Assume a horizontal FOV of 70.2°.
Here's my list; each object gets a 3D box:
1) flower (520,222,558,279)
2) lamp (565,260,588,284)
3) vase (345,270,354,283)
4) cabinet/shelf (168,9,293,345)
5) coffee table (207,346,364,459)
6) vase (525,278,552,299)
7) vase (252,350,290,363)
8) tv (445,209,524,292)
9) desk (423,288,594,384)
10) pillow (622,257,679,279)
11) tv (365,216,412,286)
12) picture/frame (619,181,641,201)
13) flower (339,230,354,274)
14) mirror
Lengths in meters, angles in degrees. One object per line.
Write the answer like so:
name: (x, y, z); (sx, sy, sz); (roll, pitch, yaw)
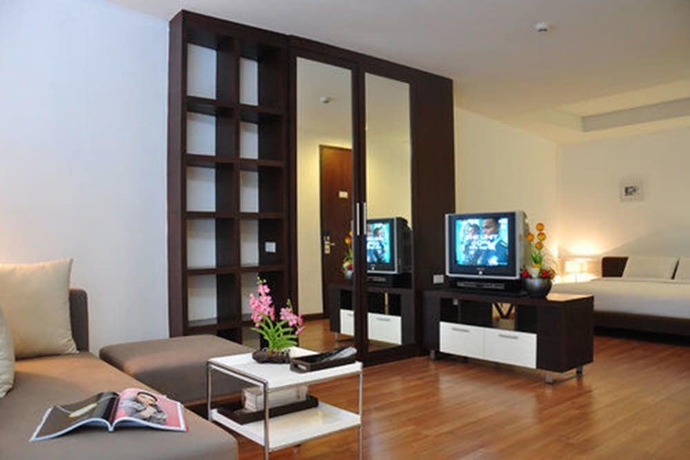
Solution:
flower: (1.954, 0.318, 4.934); (0.248, 0.501, 0.246); (-11, 2, 11)
lamp: (4.005, 0.707, 8.653); (0.357, 0.492, 0.355); (-8, 10, -43)
vase: (0.046, 0.483, 5.049); (0.109, 0.083, 0.101); (2, 1, -30)
cabinet/shelf: (-1.085, -0.637, 4.696); (1.101, 2.970, 0.321); (4, -19, -26)
coffee table: (-0.420, 1.043, 3.386); (0.795, 0.719, 0.865); (-1, 0, -39)
vase: (1.883, 0.582, 4.811); (0.206, 0.144, 0.204); (1, -8, -9)
vase: (-0.501, 0.849, 3.283); (0.149, 0.054, 0.112); (2, -5, 8)
tv: (1.517, 0.248, 5.276); (0.799, 0.808, 0.443); (1, -1, 34)
desk: (1.688, 1.103, 5.262); (0.687, 0.771, 1.680); (13, -10, -38)
pillow: (4.550, 0.570, 7.342); (0.677, 0.315, 0.375); (3, 5, 34)
tv: (0.444, 0.223, 5.477); (0.505, 0.698, 0.373); (0, -2, 39)
picture/frame: (4.753, -0.639, 8.172); (0.294, 0.275, 0.072); (6, 7, 43)
flower: (0.028, 0.247, 5.089); (0.053, 0.458, 0.153); (4, 6, 40)
mirror: (0.227, -0.205, 5.226); (1.527, 3.230, 0.337); (-3, 6, -31)
